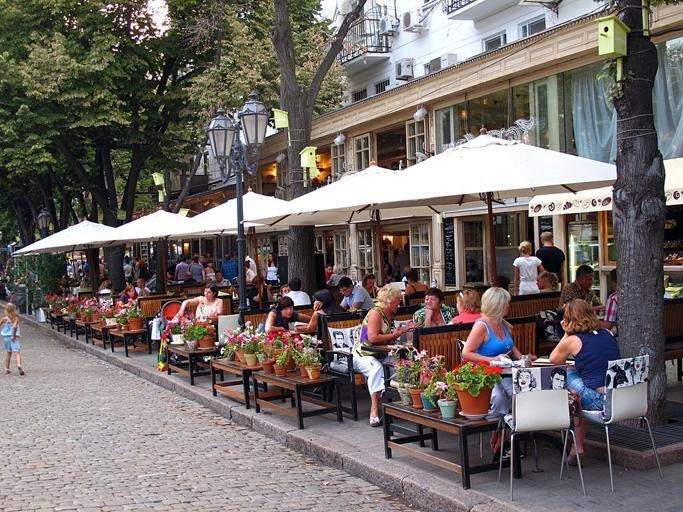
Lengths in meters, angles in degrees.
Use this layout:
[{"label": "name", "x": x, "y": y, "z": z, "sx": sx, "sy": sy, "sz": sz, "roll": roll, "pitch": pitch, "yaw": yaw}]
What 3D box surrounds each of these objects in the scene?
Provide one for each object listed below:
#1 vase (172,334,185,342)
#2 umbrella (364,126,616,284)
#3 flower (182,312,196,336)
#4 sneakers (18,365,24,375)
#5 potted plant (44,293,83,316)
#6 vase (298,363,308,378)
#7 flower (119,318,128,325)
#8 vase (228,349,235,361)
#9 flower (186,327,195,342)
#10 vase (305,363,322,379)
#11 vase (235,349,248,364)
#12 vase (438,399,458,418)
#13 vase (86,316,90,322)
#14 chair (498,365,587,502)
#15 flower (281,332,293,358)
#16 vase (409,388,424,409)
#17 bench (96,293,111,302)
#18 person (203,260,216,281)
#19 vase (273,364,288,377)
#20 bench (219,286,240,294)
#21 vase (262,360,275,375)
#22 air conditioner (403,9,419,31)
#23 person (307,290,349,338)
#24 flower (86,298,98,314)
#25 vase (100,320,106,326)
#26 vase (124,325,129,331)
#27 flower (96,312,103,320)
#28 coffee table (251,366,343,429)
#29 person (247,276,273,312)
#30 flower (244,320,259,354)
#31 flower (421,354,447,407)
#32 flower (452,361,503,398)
[{"label": "vase", "x": -3.197, "y": 1.603, "z": 15.004, "sx": 0.221, "sy": 0.169, "sz": 0.222, "roll": 4, "pitch": -6, "yaw": -31}, {"label": "umbrella", "x": 2.332, "y": -0.791, "z": 12.278, "sx": 3.260, "sy": 2.321, "sz": 4.198, "roll": -4, "pitch": 6, "yaw": 5}, {"label": "flower", "x": -2.867, "y": 1.332, "z": 14.604, "sx": 0.300, "sy": 0.403, "sz": 0.305, "roll": 4, "pitch": -7, "yaw": -32}, {"label": "sneakers", "x": -7.048, "y": 2.525, "z": 16.790, "sx": 0.080, "sy": 0.172, "sz": 0.249, "roll": -3, "pitch": -46, "yaw": -15}, {"label": "potted plant", "x": -9.045, "y": 1.584, "z": 24.892, "sx": 0.943, "sy": 0.339, "sz": 0.884, "roll": 4, "pitch": -2, "yaw": -29}, {"label": "vase", "x": -0.564, "y": 1.731, "z": 11.428, "sx": 0.166, "sy": 0.183, "sz": 0.175, "roll": -1, "pitch": -4, "yaw": 2}, {"label": "flower", "x": -5.263, "y": 1.588, "z": 18.490, "sx": 0.170, "sy": 0.133, "sz": 0.180, "roll": 0, "pitch": -5, "yaw": 8}, {"label": "vase", "x": -1.843, "y": 1.674, "z": 12.795, "sx": 0.098, "sy": 0.150, "sz": 0.052, "roll": -1, "pitch": 6, "yaw": 15}, {"label": "flower", "x": -2.823, "y": 1.473, "z": 14.278, "sx": 0.188, "sy": 0.208, "sz": 0.200, "roll": 1, "pitch": -12, "yaw": 3}, {"label": "vase", "x": -0.419, "y": 1.707, "z": 11.259, "sx": 0.204, "sy": 0.166, "sz": 0.214, "roll": -2, "pitch": -8, "yaw": -1}, {"label": "vase", "x": -1.640, "y": 1.652, "z": 12.556, "sx": 0.219, "sy": 0.179, "sz": 0.222, "roll": -1, "pitch": -7, "yaw": 6}, {"label": "vase", "x": 1.214, "y": 1.748, "z": 8.682, "sx": 0.197, "sy": 0.163, "sz": 0.206, "roll": -1, "pitch": -5, "yaw": 5}, {"label": "vase", "x": -7.100, "y": 1.770, "z": 21.420, "sx": 0.124, "sy": 0.102, "sz": 0.128, "roll": 2, "pitch": -8, "yaw": -16}, {"label": "chair", "x": 2.193, "y": 1.851, "z": 8.436, "sx": 0.941, "sy": 1.390, "sz": 1.000, "roll": -4, "pitch": 6, "yaw": 7}, {"label": "flower", "x": -0.828, "y": 1.361, "z": 11.660, "sx": 0.207, "sy": 0.270, "sz": 0.257, "roll": 0, "pitch": -9, "yaw": 5}, {"label": "vase", "x": 0.898, "y": 1.707, "z": 9.126, "sx": 0.197, "sy": 0.219, "sz": 0.203, "roll": -1, "pitch": -9, "yaw": 0}, {"label": "bench", "x": -6.797, "y": 1.209, "z": 21.984, "sx": 0.305, "sy": 0.212, "sz": 0.325, "roll": -1, "pitch": -2, "yaw": 5}, {"label": "person", "x": -4.530, "y": 0.486, "z": 26.156, "sx": 0.628, "sy": 0.760, "sz": 0.398, "roll": 0, "pitch": -1, "yaw": -39}, {"label": "vase", "x": -0.932, "y": 1.756, "z": 11.669, "sx": 0.170, "sy": 0.129, "sz": 0.178, "roll": 0, "pitch": -6, "yaw": -3}, {"label": "bench", "x": -3.290, "y": 0.970, "z": 22.070, "sx": 0.401, "sy": 0.228, "sz": 0.179, "roll": -1, "pitch": 2, "yaw": 27}, {"label": "vase", "x": -1.138, "y": 1.746, "z": 11.869, "sx": 0.185, "sy": 0.154, "sz": 0.193, "roll": 2, "pitch": -3, "yaw": -6}, {"label": "air conditioner", "x": 2.675, "y": -9.093, "z": 29.131, "sx": 0.309, "sy": 0.888, "sz": 0.967, "roll": 1, "pitch": -1, "yaw": -23}, {"label": "person", "x": -0.230, "y": 0.914, "z": 12.847, "sx": 0.596, "sy": 1.092, "sz": 0.762, "roll": 1, "pitch": 4, "yaw": 2}, {"label": "flower", "x": -6.959, "y": 1.411, "z": 21.391, "sx": 0.404, "sy": 0.416, "sz": 0.424, "roll": 2, "pitch": -5, "yaw": 12}, {"label": "vase", "x": -6.198, "y": 1.756, "z": 19.858, "sx": 0.142, "sy": 0.115, "sz": 0.145, "roll": -10, "pitch": -14, "yaw": 40}, {"label": "vase", "x": -5.238, "y": 1.765, "z": 18.617, "sx": 0.109, "sy": 0.090, "sz": 0.113, "roll": -7, "pitch": -7, "yaw": 34}, {"label": "flower", "x": -6.462, "y": 1.605, "z": 20.388, "sx": 0.177, "sy": 0.193, "sz": 0.127, "roll": -2, "pitch": 30, "yaw": 1}, {"label": "coffee table", "x": -0.680, "y": 2.170, "z": 11.747, "sx": 0.664, "sy": 0.691, "sz": 1.414, "roll": -5, "pitch": 5, "yaw": -28}, {"label": "person", "x": -1.971, "y": 0.925, "z": 18.345, "sx": 0.401, "sy": 1.352, "sz": 0.508, "roll": -7, "pitch": 7, "yaw": 4}, {"label": "flower", "x": -1.464, "y": 1.377, "z": 12.389, "sx": 0.261, "sy": 0.378, "sz": 0.694, "roll": -5, "pitch": 6, "yaw": -8}, {"label": "flower", "x": 1.088, "y": 1.489, "z": 9.014, "sx": 0.291, "sy": 0.614, "sz": 0.749, "roll": -4, "pitch": 6, "yaw": 6}, {"label": "flower", "x": 1.480, "y": 1.342, "z": 8.434, "sx": 0.398, "sy": 0.295, "sz": 0.415, "roll": -5, "pitch": -4, "yaw": 32}]
